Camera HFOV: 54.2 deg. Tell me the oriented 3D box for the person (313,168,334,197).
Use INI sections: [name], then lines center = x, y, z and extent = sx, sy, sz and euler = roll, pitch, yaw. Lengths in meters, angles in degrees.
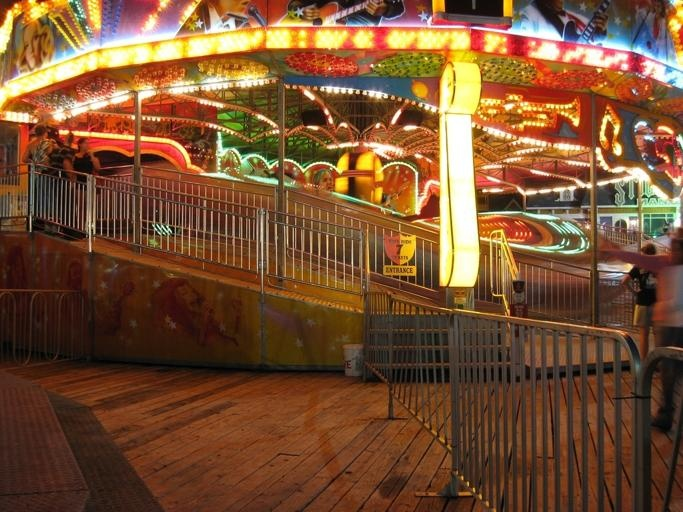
[person]
center = -0.639, -2.717, 23.203
extent = 0.626, 0.766, 0.918
euler = 2, -1, -8
